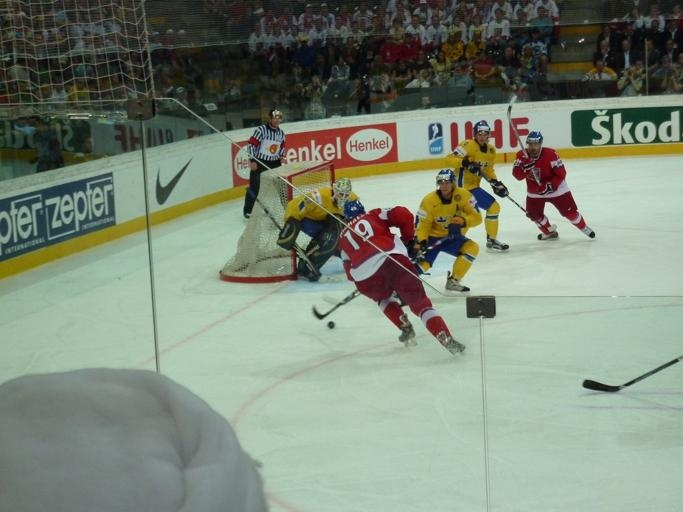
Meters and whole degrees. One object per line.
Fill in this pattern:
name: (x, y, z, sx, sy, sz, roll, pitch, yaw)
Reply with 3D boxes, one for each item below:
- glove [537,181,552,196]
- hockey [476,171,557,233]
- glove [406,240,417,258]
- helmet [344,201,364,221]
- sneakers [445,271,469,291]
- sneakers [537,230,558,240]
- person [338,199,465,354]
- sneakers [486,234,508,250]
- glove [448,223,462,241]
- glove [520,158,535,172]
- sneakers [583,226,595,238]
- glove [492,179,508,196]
glove: (2.361, -0.782, 8.683, 0.111, 0.196, 0.165, 12, 21, 39)
hockey: (2.129, -0.632, 9.043, 1.585, 0.183, 0.092, 33, 37, -18)
glove: (0.554, -0.048, 5.873, 0.054, 0.150, 0.113, 4, 18, 6)
helmet: (0.061, -0.224, 3.678, 0.083, 0.109, 0.108, 2, -13, 4)
sneakers: (1.045, 0.248, 6.879, 0.272, 0.222, 0.105, -2, 4, 4)
sneakers: (2.388, -0.248, 8.580, 0.271, 0.101, 0.162, -2, 19, -4)
person: (0.196, 0.049, 3.319, 0.405, 0.268, 0.803, -26, 49, -14)
sneakers: (1.710, -0.137, 8.314, 0.266, 0.167, 0.106, 1, 11, 33)
glove: (1.048, -0.226, 6.924, 0.153, 0.218, 0.069, -2, 9, -12)
glove: (2.139, -1.045, 8.628, 0.180, 0.190, 0.103, -4, 0, -11)
sneakers: (2.767, -0.273, 8.366, 0.147, 0.122, 0.199, 5, 20, 18)
glove: (1.875, -0.795, 8.865, 0.133, 0.080, 0.226, -15, 40, -13)
